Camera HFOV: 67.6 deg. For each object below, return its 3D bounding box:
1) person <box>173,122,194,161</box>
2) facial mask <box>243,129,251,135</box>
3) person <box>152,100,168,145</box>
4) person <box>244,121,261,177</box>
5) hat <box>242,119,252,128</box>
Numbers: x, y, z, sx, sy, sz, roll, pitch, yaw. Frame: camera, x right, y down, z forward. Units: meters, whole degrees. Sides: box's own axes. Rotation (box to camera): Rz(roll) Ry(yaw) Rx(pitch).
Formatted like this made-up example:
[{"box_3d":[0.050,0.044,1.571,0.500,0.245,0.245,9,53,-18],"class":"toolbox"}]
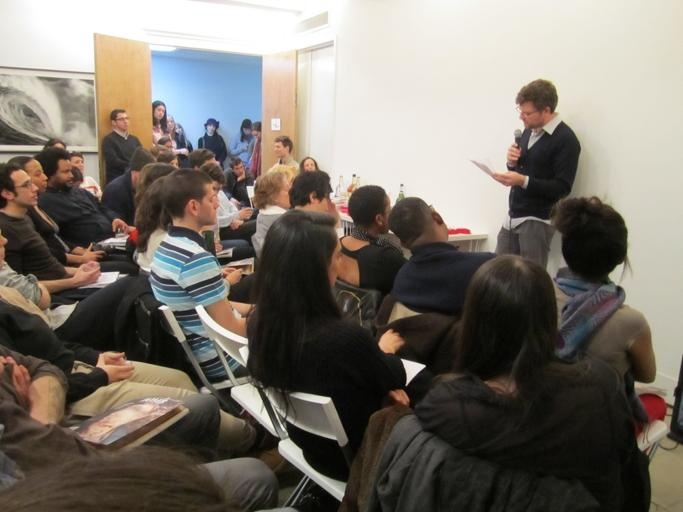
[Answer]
[{"box_3d":[-3.084,-2.258,9.670,0.404,0.380,0.953,-13,-8,-22],"class":"person"},{"box_3d":[-1.834,-2.378,9.939,0.117,0.133,0.139,3,5,-4],"class":"facial mask"},{"box_3d":[-3.160,-2.173,8.907,0.294,1.004,0.307,5,27,-12],"class":"person"},{"box_3d":[-1.510,-1.861,8.984,0.338,0.947,0.367,9,16,22],"class":"person"},{"box_3d":[-1.866,-2.577,10.097,0.217,0.213,0.318,0,2,-5],"class":"hat"}]
